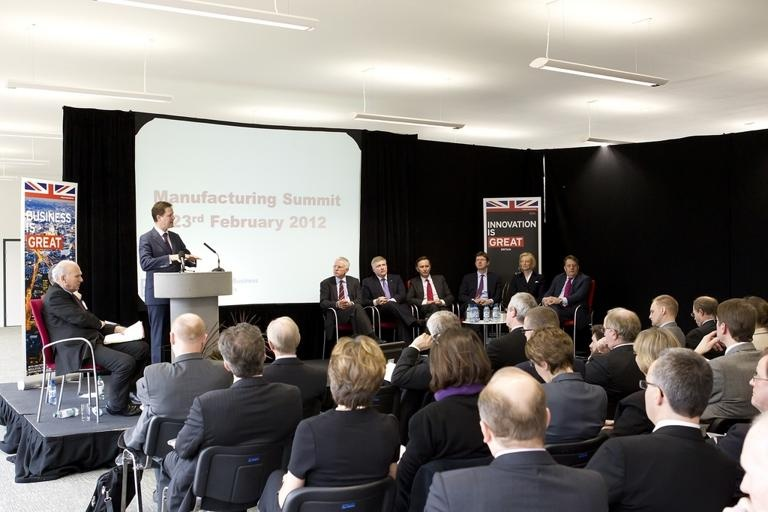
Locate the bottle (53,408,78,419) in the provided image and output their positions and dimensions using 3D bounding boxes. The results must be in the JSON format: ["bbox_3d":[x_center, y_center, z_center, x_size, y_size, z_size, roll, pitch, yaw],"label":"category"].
[{"bbox_3d":[-3.057,1.521,5.883,0.090,0.062,0.169,2,2,42],"label":"bottle"}]

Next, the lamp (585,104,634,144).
[{"bbox_3d":[3.712,-2.170,10.238,0.586,0.482,2.404,-1,1,18],"label":"lamp"}]

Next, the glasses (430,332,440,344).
[{"bbox_3d":[0.369,0.608,4.510,0.046,0.101,0.121,2,-14,8],"label":"glasses"}]

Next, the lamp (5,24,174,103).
[{"bbox_3d":[-3.628,-2.211,7.526,1.730,0.605,1.604,-2,1,-30],"label":"lamp"}]

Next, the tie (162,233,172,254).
[{"bbox_3d":[-2.443,-0.143,6.875,0.060,0.254,0.038,-8,-39,-12],"label":"tie"}]

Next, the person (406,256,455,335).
[{"bbox_3d":[0.721,0.568,9.302,0.739,0.960,1.467,-4,10,-1],"label":"person"}]

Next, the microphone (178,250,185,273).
[{"bbox_3d":[-2.108,0.052,6.327,0.056,0.209,0.440,-2,1,-19],"label":"microphone"}]

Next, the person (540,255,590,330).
[{"bbox_3d":[2.744,0.745,9.527,0.906,1.458,0.702,3,-3,-29],"label":"person"}]
